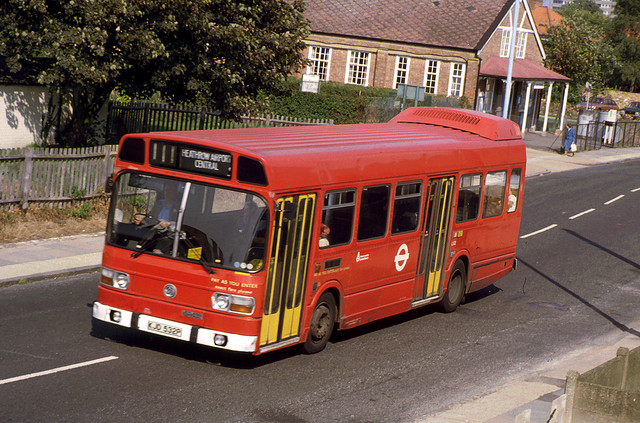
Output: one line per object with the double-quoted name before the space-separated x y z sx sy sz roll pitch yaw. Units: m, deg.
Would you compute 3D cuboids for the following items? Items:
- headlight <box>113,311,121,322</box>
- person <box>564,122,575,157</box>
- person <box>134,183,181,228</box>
"headlight" -3.638 1.883 11.023 0.111 0.162 0.155 8 53 -3
"person" 17.533 -4.972 43.095 0.716 1.953 1.140 8 14 23
"person" -2.806 -0.140 10.910 0.791 0.755 0.280 9 14 24
